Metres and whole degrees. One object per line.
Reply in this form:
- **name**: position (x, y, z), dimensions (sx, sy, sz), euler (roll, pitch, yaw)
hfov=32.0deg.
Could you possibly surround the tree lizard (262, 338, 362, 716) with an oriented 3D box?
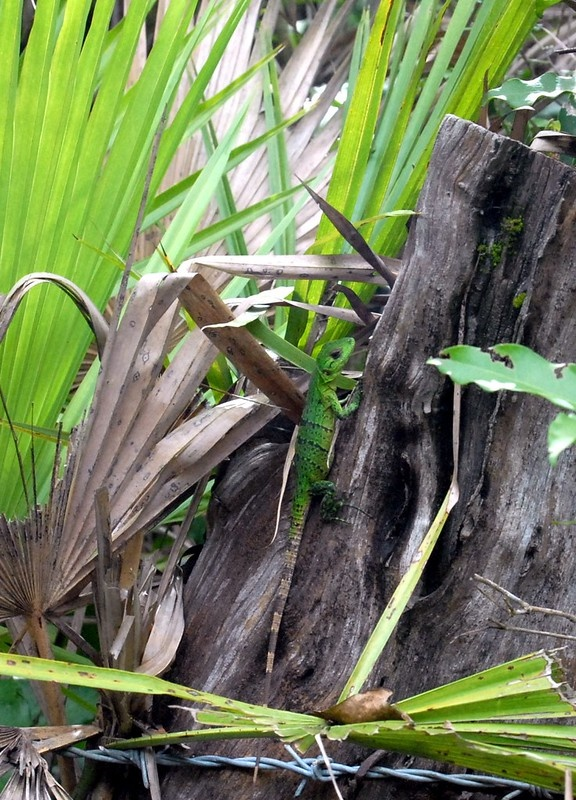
- **tree lizard**: position (0.042, 0.304, 2.620), dimensions (0.157, 0.915, 0.207), euler (13, 1, -34)
